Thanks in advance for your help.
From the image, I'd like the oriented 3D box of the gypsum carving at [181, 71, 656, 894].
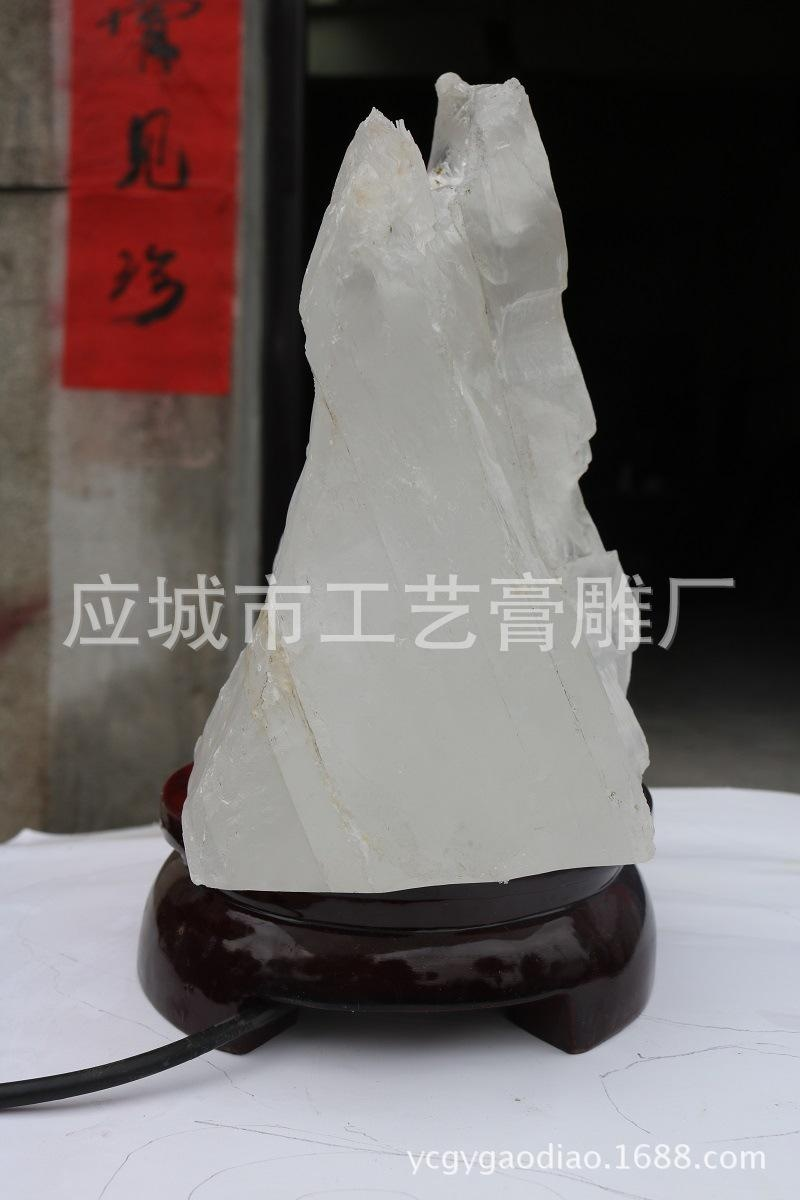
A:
[{"bbox_3d":[0.020,-0.105,1.199,0.382,0.629,0.298,0,12,1],"label":"gypsum carving"}]
